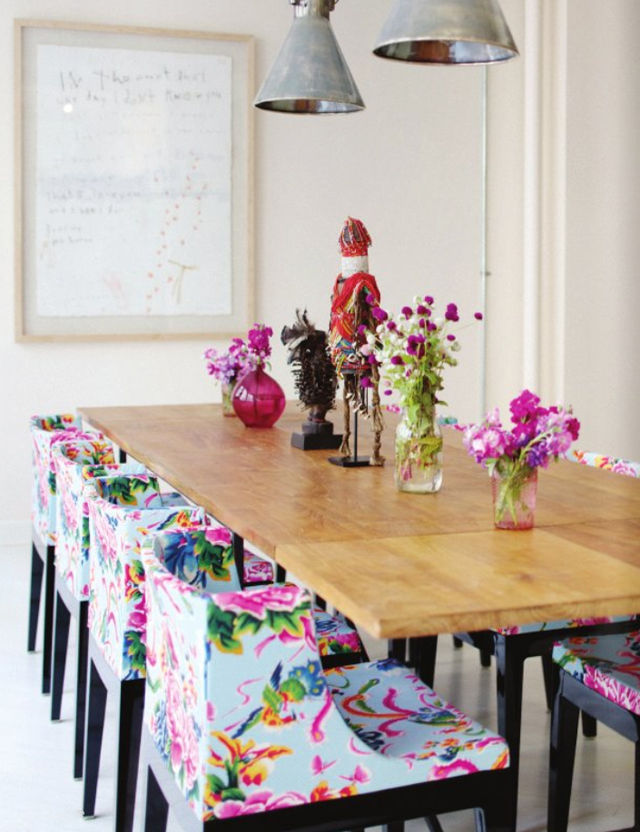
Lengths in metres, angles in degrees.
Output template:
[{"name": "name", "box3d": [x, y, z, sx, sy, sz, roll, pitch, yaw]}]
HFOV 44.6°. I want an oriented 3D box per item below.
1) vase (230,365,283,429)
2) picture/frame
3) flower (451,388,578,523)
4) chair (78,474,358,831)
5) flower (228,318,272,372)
[{"name": "vase", "box3d": [-0.212, -0.060, 2.646, 0.208, 0.256, 0.199, 1, 4, -3]}, {"name": "picture/frame", "box3d": [-1.028, -1.274, 4.393, 1.366, 1.698, 0.059, -3, 7, -16]}, {"name": "flower", "box3d": [0.356, 0.068, 1.361, 0.234, 0.225, 0.213, 1, -2, -12]}, {"name": "chair", "box3d": [-0.302, 0.409, 2.046, 0.715, 1.132, 0.653, -1, 6, -19]}, {"name": "flower", "box3d": [-0.254, -0.240, 2.817, 0.138, 0.164, 0.277, -2, 6, -6]}]
